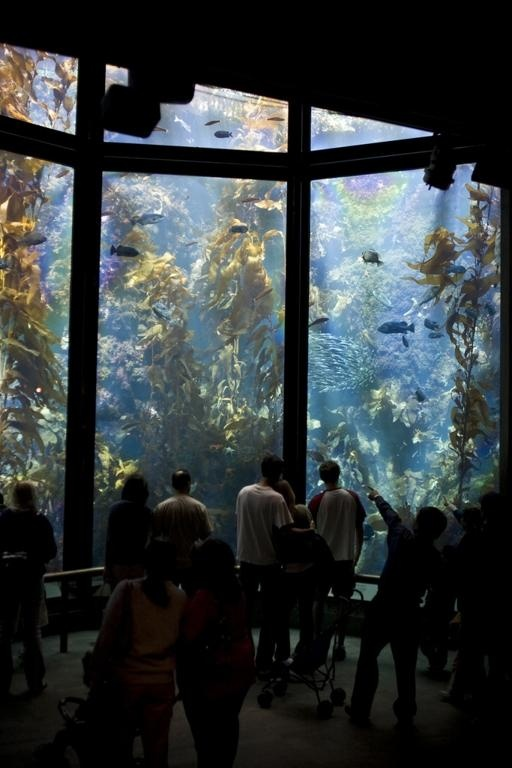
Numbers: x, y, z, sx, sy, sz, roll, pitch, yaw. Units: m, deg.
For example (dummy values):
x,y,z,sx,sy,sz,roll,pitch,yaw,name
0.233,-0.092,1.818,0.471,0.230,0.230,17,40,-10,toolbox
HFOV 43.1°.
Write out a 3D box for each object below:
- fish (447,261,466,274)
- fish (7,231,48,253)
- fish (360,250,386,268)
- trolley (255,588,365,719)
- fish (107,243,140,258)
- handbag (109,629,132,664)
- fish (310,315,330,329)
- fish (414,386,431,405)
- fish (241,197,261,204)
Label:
x,y,z,sx,sy,sz,roll,pitch,yaw,name
1.792,-1.032,5.774,0.145,0.101,0.031,0,-6,10,fish
-1.929,-1.201,5.449,0.351,0.208,0.013,7,-8,-44,fish
1.080,-1.158,5.968,0.167,0.132,0.067,35,14,11,fish
0.365,1.684,4.177,0.595,0.774,0.398,-1,-13,25,trolley
-1.192,-1.219,5.860,0.305,0.168,0.088,3,9,-13,fish
-0.538,1.048,2.598,0.087,0.119,0.028,-1,-13,24,handbag
0.609,-0.587,6.064,0.195,0.084,0.038,-26,4,15,fish
1.478,0.099,5.802,0.089,0.154,0.043,-23,-22,10,fish
-0.046,-1.733,6.076,0.196,0.086,0.057,-5,10,-7,fish
